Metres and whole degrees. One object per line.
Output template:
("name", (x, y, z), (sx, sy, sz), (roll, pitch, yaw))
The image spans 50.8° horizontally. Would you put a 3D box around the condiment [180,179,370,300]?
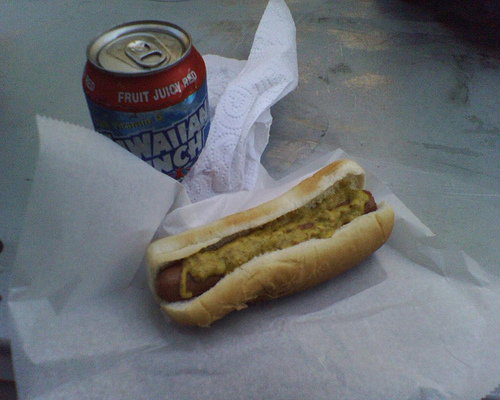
("condiment", (0.141, 0.226, 2.676), (0.827, 0.197, 0.254), (-26, 77, -16))
